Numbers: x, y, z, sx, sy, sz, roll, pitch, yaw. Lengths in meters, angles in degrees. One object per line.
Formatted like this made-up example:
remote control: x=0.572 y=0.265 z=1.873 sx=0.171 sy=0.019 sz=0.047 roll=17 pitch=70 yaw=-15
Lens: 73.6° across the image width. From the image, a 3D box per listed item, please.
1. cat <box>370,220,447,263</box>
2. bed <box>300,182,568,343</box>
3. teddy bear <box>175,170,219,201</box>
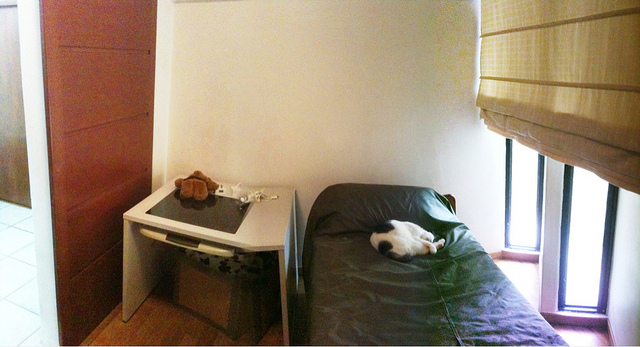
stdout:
cat: x=0.834 y=0.605 z=3.834 sx=0.521 sy=0.163 sz=0.406 roll=-2 pitch=28 yaw=-25
bed: x=0.808 y=0.875 z=3.569 sx=1.592 sy=0.689 sz=1.751 roll=-4 pitch=34 yaw=-3
teddy bear: x=-1.234 y=0.111 z=4.081 sx=0.397 sy=0.114 sz=0.379 roll=16 pitch=36 yaw=4
